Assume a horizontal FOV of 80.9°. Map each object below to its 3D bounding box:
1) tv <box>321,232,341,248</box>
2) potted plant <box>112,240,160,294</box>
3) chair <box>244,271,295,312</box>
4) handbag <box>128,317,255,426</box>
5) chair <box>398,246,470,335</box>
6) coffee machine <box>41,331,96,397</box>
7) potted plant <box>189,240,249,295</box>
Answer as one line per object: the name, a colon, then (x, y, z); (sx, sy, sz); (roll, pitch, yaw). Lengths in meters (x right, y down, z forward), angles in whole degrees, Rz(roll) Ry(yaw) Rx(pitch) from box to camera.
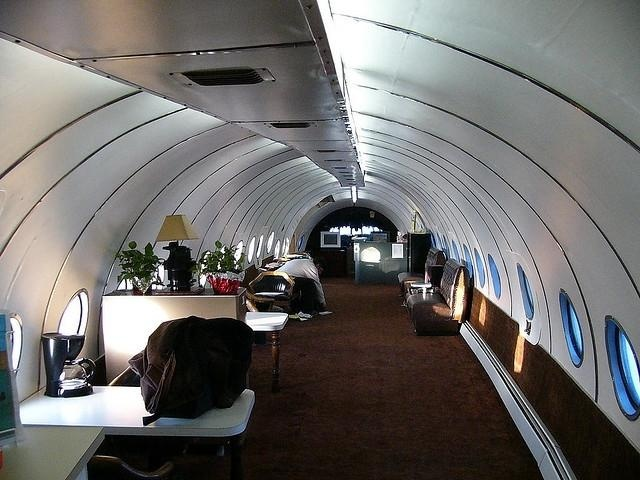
tv: (0.656, -0.114, 21.970); (1.315, 1.255, 0.752); (0, 4, 8)
potted plant: (-2.380, 0.405, 5.036); (0.710, 0.693, 0.594); (-1, 11, -45)
chair: (-1.526, 1.490, 10.849); (1.306, 1.728, 1.260); (-1, -5, 6)
handbag: (-1.027, 1.050, 3.359); (0.783, 0.498, 0.924); (-4, 10, 3)
chair: (3.158, 1.538, 9.904); (1.525, 1.860, 1.650); (-6, -2, 17)
coffee machine: (-2.498, 1.235, 3.778); (0.448, 0.585, 0.366); (1, -4, -4)
potted plant: (-1.395, 0.375, 5.389); (0.569, 0.721, 0.673); (-11, -6, 38)
